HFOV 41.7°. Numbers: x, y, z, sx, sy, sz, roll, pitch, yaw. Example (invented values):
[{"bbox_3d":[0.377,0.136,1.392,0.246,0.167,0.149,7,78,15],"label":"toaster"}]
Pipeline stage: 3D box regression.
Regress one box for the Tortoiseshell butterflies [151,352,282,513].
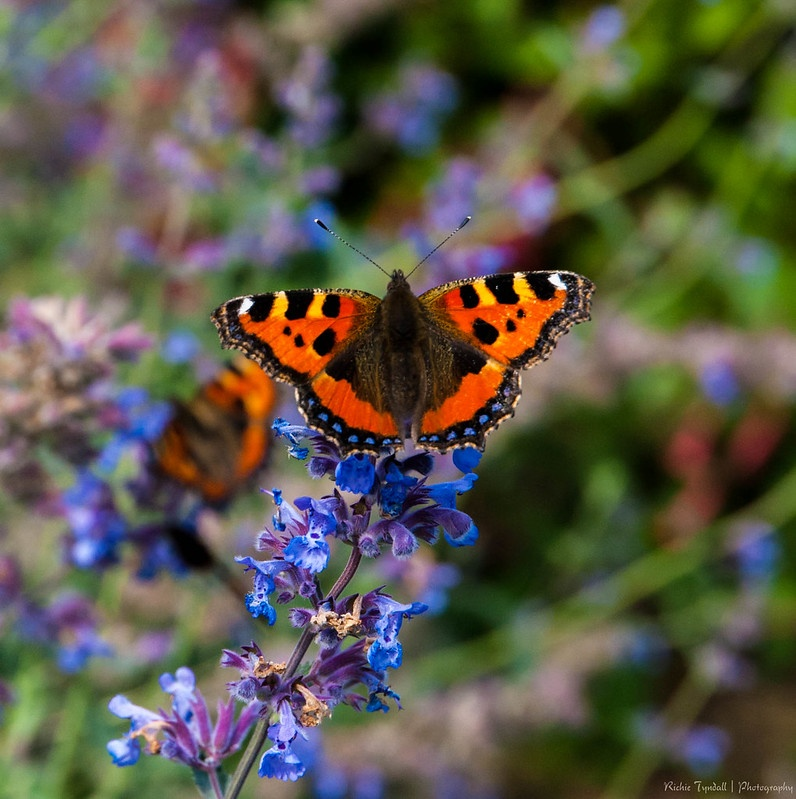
[{"bbox_3d":[-0.734,0.121,4.232,0.497,0.223,0.570,-28,95,-6],"label":"Tortoiseshell butterflies"}]
